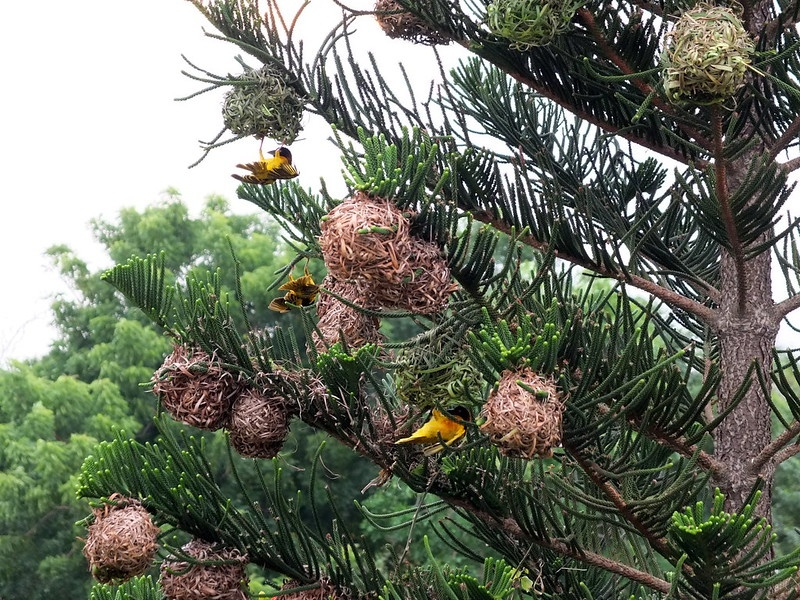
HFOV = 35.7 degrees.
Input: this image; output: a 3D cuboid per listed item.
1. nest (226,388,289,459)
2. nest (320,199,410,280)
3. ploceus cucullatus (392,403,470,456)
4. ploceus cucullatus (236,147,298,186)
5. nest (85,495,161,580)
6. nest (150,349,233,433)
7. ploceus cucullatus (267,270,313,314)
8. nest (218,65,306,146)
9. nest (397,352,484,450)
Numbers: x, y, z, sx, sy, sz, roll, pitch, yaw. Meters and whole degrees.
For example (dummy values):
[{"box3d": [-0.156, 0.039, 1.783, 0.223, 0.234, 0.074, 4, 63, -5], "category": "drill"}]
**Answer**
[{"box3d": [-0.569, 0.523, 5.384, 0.152, 0.240, 0.240, -26, -9, -45], "category": "nest"}, {"box3d": [-0.131, -0.230, 4.810, 0.322, 0.315, 0.294, 3, 11, 7], "category": "nest"}, {"box3d": [0.160, 0.535, 5.159, 0.347, 0.207, 0.163, -6, 4, -18], "category": "ploceus cucullatus"}, {"box3d": [-0.560, -0.597, 5.457, 0.285, 0.148, 0.220, 10, 2, -24], "category": "ploceus cucullatus"}, {"box3d": [-1.169, 1.045, 5.300, 0.258, 0.283, 0.285, -1, -6, 25], "category": "nest"}, {"box3d": [-0.873, 0.412, 5.430, 0.363, 0.355, 0.323, 8, -34, -14], "category": "nest"}, {"box3d": [-0.469, -0.024, 5.541, 0.183, 0.177, 0.098, -4, -53, 27], "category": "ploceus cucullatus"}, {"box3d": [-0.608, -0.854, 5.618, 0.342, 0.344, 0.234, -16, -25, -28], "category": "nest"}, {"box3d": [0.156, 0.430, 5.275, 0.347, 0.304, 0.403, 11, 1, -35], "category": "nest"}]
